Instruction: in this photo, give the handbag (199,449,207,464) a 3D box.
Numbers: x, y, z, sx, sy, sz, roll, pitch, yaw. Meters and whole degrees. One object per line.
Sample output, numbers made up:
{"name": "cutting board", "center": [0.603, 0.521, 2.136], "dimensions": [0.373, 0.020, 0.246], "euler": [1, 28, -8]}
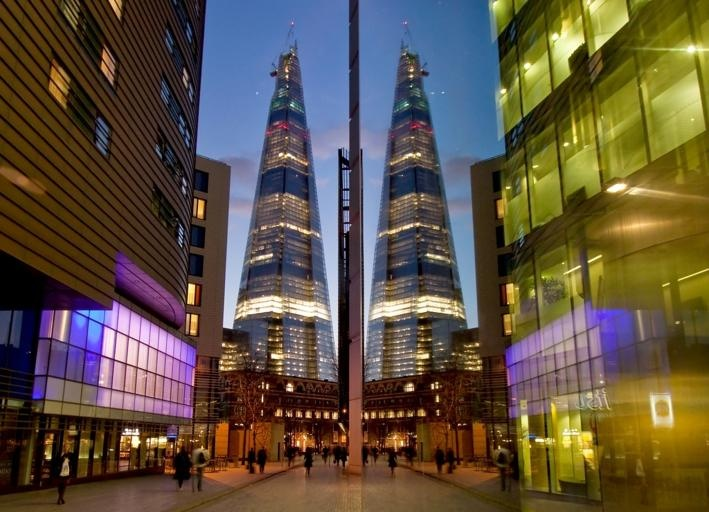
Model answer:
{"name": "handbag", "center": [-8.704, 11.432, 32.318], "dimensions": [0.494, 0.982, 0.577], "euler": [0, -19, 0]}
